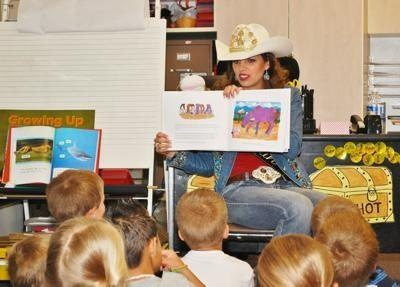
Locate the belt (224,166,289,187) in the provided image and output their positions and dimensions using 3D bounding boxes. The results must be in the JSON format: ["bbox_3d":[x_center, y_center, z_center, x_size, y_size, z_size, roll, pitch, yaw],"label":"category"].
[{"bbox_3d":[0.376,0.216,3.475,0.256,0.151,0.077,5,-26,-2],"label":"belt"}]

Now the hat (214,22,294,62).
[{"bbox_3d":[0.364,-0.736,3.769,0.549,0.203,0.531,-4,15,3],"label":"hat"}]

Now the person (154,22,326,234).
[{"bbox_3d":[0.237,0.109,3.579,1.157,1.733,0.983,-4,4,2],"label":"person"}]

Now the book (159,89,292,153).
[{"bbox_3d":[0.159,-0.132,3.369,0.802,0.395,0.063,2,-5,9],"label":"book"}]
